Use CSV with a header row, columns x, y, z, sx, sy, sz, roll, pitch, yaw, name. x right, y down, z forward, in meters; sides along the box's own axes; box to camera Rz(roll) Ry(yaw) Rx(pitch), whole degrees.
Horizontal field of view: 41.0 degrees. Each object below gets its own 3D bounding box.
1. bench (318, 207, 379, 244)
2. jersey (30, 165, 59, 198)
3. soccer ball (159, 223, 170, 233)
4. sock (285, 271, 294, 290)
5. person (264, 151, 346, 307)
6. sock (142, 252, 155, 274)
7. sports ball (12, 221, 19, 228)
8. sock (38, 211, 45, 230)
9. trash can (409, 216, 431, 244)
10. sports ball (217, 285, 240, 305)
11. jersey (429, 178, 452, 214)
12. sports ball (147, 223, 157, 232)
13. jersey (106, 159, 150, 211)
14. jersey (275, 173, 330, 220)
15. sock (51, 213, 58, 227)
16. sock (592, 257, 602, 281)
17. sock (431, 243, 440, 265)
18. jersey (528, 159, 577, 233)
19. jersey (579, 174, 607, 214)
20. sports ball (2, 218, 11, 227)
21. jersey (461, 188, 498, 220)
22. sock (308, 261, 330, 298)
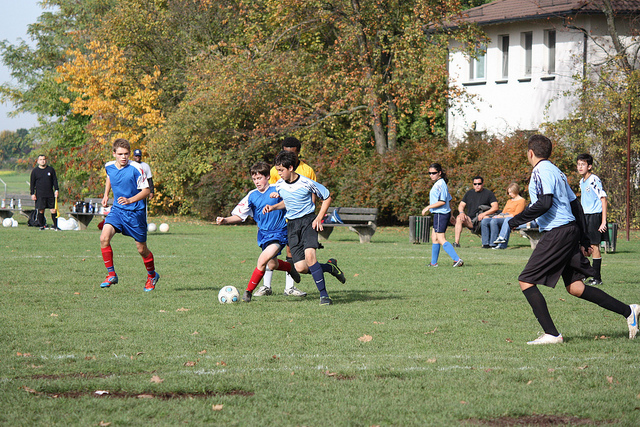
x,y,z,sx,sy,sz,roll,pitch,yaw,name
0.974,0.322,28.334,1.803,0.774,0.723,3,39,-13,bench
-9.587,-1.117,29.566,1.021,1.100,0.524,-6,16,-38,jersey
-5.666,0.500,31.032,0.331,0.327,0.331,6,41,-6,soccer ball
-0.662,1.428,18.429,0.143,0.367,0.137,1,11,3,sock
-0.329,0.282,17.724,1.367,3.110,0.967,1,11,-1,person
-3.767,1.092,18.735,0.249,0.505,0.387,-2,11,-12,sock
-11.248,0.371,31.430,0.224,0.210,0.281,1,-6,1,sports ball
-9.822,0.215,30.054,0.196,0.564,0.411,-3,11,-20,sock
3.269,0.498,28.050,0.740,0.820,0.683,1,0,-10,trash can
-1.893,1.632,17.753,0.369,0.355,0.354,16,38,-13,sports ball
3.128,-0.488,22.099,0.668,0.929,0.986,2,11,7,jersey
-5.947,0.476,30.100,0.302,0.251,0.397,1,4,20,sports ball
-4.212,-0.634,18.664,0.922,1.075,0.487,-1,11,-7,jersey
-0.444,-0.358,17.627,1.334,0.880,0.679,-7,12,23,jersey
-9.385,0.200,30.227,0.159,0.538,0.413,-3,11,-16,sock
6.404,1.274,19.762,0.214,0.554,1.069,4,11,18,sock
2.955,0.977,21.883,0.169,0.526,0.420,3,11,12,sock
3.956,-0.366,15.700,0.621,1.508,1.335,1,-1,2,jersey
6.444,-0.461,20.170,0.630,0.962,0.373,7,12,31,jersey
-11.458,0.311,31.133,0.377,0.266,0.267,2,10,7,sports ball
4.883,-0.311,26.343,1.152,0.940,0.491,2,2,21,jersey
0.013,1.372,17.701,0.366,0.832,0.545,4,11,20,sock
